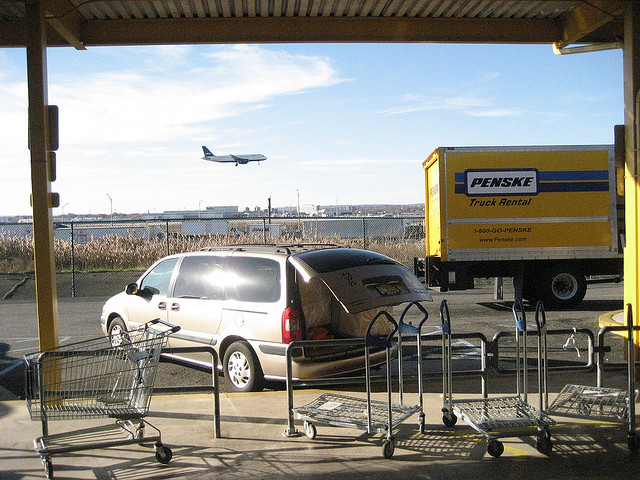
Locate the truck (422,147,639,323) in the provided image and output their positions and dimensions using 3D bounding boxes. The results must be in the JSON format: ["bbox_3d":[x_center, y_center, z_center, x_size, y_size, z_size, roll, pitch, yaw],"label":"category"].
[{"bbox_3d":[4.845,-0.426,19.122,6.326,4.244,3.318,-1,3,-2],"label":"truck"}]

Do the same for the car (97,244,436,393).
[{"bbox_3d":[-1.074,1.123,11.342,4.342,1.386,2.092,3,3,37],"label":"car"}]
